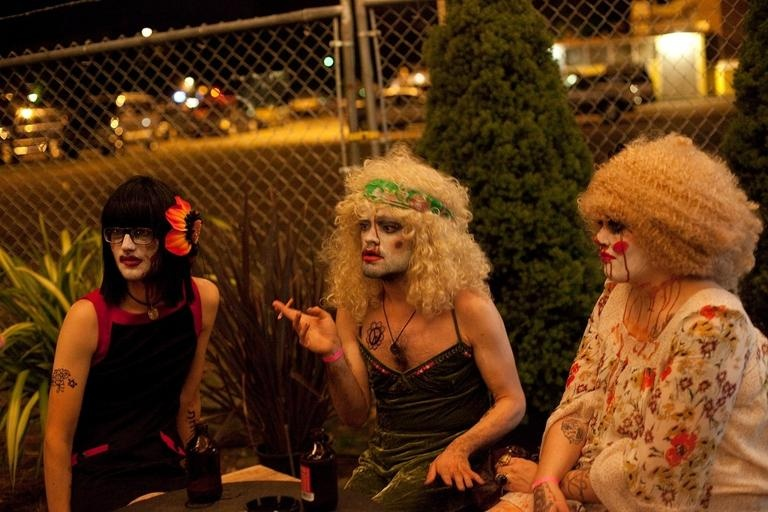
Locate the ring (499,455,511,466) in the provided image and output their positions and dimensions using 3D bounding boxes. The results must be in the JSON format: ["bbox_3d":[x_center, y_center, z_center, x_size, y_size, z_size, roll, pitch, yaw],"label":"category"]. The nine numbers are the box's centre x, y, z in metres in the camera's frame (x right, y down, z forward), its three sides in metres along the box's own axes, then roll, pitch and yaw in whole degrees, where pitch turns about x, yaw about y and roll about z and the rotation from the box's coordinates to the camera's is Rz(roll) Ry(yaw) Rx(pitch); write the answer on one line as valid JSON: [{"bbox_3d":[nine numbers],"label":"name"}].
[{"bbox_3d":[0.675,1.134,5.180,0.051,0.014,0.056,-29,28,17],"label":"ring"}]

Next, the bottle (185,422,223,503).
[{"bbox_3d":[-0.968,1.104,4.988,0.191,0.419,0.137,-5,5,-13],"label":"bottle"}]

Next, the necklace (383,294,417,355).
[{"bbox_3d":[0.077,0.409,5.480,0.184,0.365,0.012,14,-29,-14],"label":"necklace"}]

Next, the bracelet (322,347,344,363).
[{"bbox_3d":[-0.283,0.566,5.279,0.089,0.038,0.081,-28,-1,25],"label":"bracelet"}]

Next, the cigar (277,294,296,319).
[{"bbox_3d":[-0.597,0.308,5.678,0.179,0.049,0.037,-43,36,-14],"label":"cigar"}]
